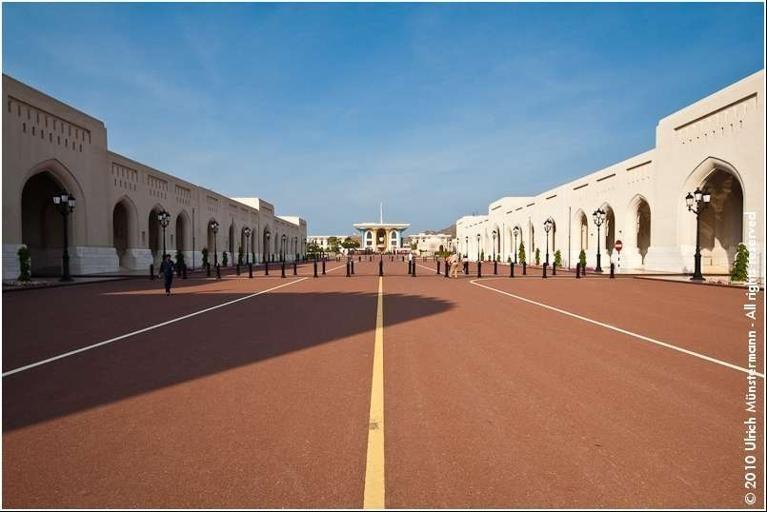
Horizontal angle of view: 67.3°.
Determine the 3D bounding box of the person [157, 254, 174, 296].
[{"bbox_3d":[-7.779,0.663,20.634,0.411,1.372,1.476,-1,3,-22],"label":"person"}]
